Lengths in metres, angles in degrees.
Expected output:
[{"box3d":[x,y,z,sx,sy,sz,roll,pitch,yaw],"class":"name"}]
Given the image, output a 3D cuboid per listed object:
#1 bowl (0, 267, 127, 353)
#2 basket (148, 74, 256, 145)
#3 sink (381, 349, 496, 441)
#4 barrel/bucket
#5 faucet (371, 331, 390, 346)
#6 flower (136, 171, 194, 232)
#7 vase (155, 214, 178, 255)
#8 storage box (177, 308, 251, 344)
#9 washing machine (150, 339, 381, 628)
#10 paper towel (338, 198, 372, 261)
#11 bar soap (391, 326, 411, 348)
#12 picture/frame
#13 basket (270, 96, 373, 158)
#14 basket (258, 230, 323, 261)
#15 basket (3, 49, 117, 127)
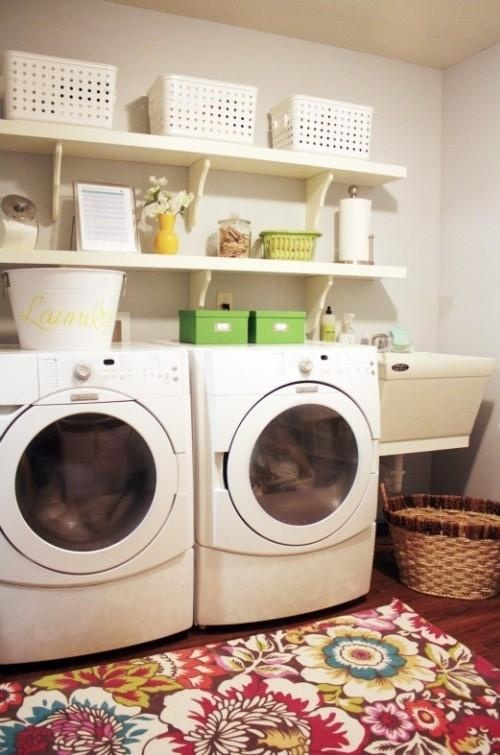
[{"box3d":[-0.528,-0.204,1.757,0.282,0.176,0.270,0,1,0],"class":"bowl"},{"box3d":[-0.174,-0.968,2.297,0.352,0.169,0.233,-2,9,-20],"class":"basket"},{"box3d":[0.732,0.093,2.457,0.540,0.352,0.154,-2,5,-25],"class":"sink"},{"box3d":[-0.568,-0.187,1.869,0.275,0.172,0.266,0,1,0],"class":"barrel/bucket"},{"box3d":[0.618,-0.180,2.909,0.054,0.077,0.033,2,-6,26],"class":"faucet"},{"box3d":[-0.336,-0.664,2.326,0.183,0.213,0.214,16,36,27],"class":"flower"},{"box3d":[-0.302,-0.525,2.224,0.079,0.163,0.101,-1,4,-16],"class":"vase"},{"box3d":[-0.125,-0.182,2.193,0.258,0.126,0.284,0,5,-6],"class":"storage box"},{"box3d":[0.039,0.331,2.260,0.866,0.934,0.850,1,6,9],"class":"washing machine"},{"box3d":[0.474,-0.662,2.727,0.160,0.291,0.164,1,-12,8],"class":"paper towel"},{"box3d":[0.670,-0.174,2.712,0.067,0.090,0.092,-1,3,0],"class":"bar soap"},{"box3d":[-0.521,-0.573,2.204,0.222,0.277,0.319,-1,5,-12],"class":"picture/frame"},{"box3d":[0.298,-0.999,2.516,0.368,0.178,0.240,0,2,-17],"class":"basket"},{"box3d":[0.152,-0.539,2.475,0.186,0.112,0.224,-1,3,-9],"class":"basket"},{"box3d":[-0.625,-0.919,2.027,0.341,0.162,0.217,-4,13,-28],"class":"basket"}]
